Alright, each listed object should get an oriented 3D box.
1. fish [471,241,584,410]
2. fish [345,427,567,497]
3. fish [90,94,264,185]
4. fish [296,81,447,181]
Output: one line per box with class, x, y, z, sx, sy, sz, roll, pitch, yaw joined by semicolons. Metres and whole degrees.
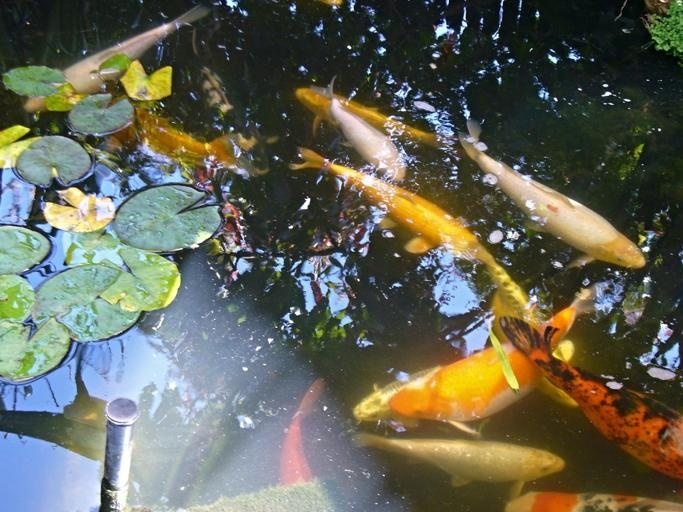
fish;1.187;0.299;4.691;1.143;0.363;0.532;61;20;12
fish;0.684;1.090;4.499;1.074;0.414;0.413;7;1;4
fish;-1.115;-0.766;5.236;1.047;0.486;0.464;29;-1;2
fish;0.197;-0.830;5.447;1.023;0.446;0.549;35;63;24
